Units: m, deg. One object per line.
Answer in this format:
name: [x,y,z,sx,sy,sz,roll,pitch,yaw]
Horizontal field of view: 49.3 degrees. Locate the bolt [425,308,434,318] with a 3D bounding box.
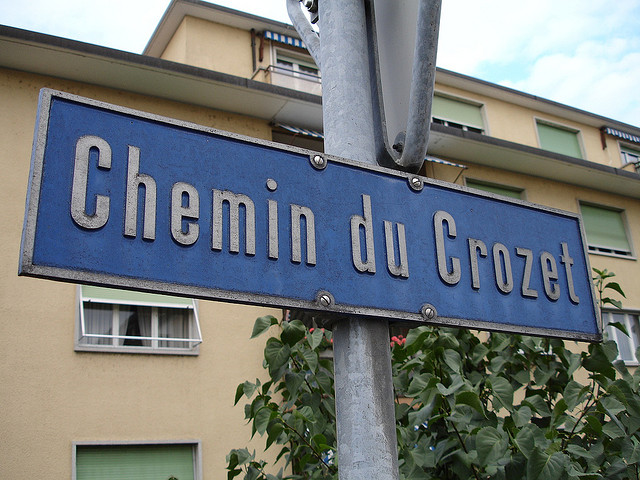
bolt: [0.419,0.275,2.635,0.027,0.030,0.007,-3,-12,-25]

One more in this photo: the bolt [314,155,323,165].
bolt: [-0.003,-0.303,2.643,0.032,0.033,0.010,-2,-21,-6]

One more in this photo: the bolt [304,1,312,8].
bolt: [-0.050,-1.056,3.115,0.038,0.038,0.012,-14,-23,22]

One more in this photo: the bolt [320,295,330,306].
bolt: [0.021,0.215,2.489,0.030,0.039,0.006,4,-22,-20]
